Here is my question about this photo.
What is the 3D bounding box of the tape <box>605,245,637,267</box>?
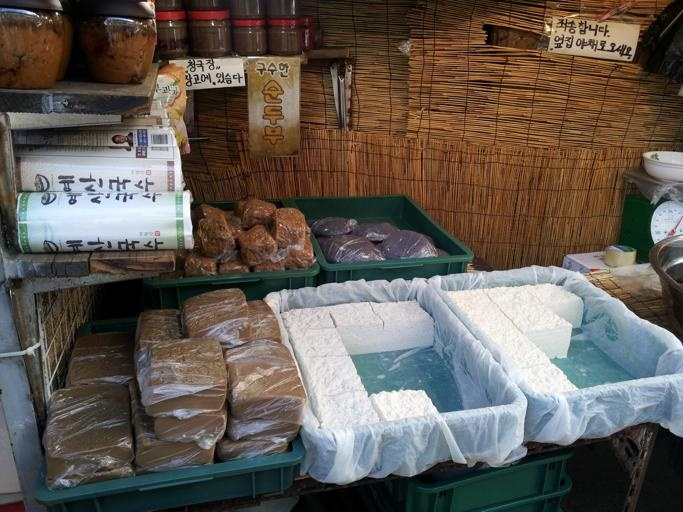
[{"bbox_3d":[2.006,-0.007,3.411,0.208,0.108,0.183,2,8,21],"label":"tape"}]
